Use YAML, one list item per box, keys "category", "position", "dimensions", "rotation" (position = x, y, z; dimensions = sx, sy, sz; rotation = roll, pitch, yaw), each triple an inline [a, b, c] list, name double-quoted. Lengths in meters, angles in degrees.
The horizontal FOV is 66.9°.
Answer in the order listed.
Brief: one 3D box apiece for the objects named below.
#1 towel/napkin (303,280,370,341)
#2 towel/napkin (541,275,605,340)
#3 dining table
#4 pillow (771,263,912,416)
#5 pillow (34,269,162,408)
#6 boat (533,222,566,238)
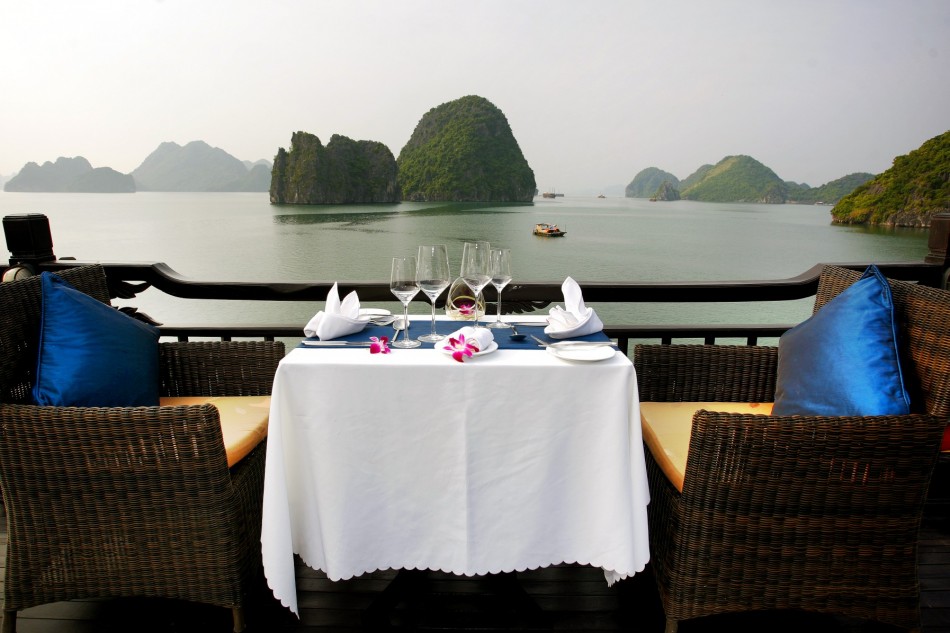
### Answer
- category: "towel/napkin"
  position: [-0.550, -0.020, 2.857]
  dimensions: [0.184, 0.101, 0.280]
  rotation: [2, 21, -14]
- category: "towel/napkin"
  position: [0.385, -0.034, 2.886]
  dimensions: [0.200, 0.110, 0.277]
  rotation: [0, 27, 8]
- category: "dining table"
  position: [-0.157, 0.597, 3.240]
  dimensions: [1.837, 0.858, 1.884]
  rotation: [1, 0, 20]
- category: "pillow"
  position: [1.335, 0.088, 2.686]
  dimensions: [0.166, 0.515, 0.542]
  rotation: [12, -35, -7]
- category: "pillow"
  position: [-1.497, 0.137, 2.931]
  dimensions: [0.226, 0.572, 0.589]
  rotation: [-5, -16, 16]
- category: "boat"
  position: [4.868, -5.609, 46.934]
  dimensions: [1.197, 0.890, 2.171]
  rotation: [-6, 10, -26]
